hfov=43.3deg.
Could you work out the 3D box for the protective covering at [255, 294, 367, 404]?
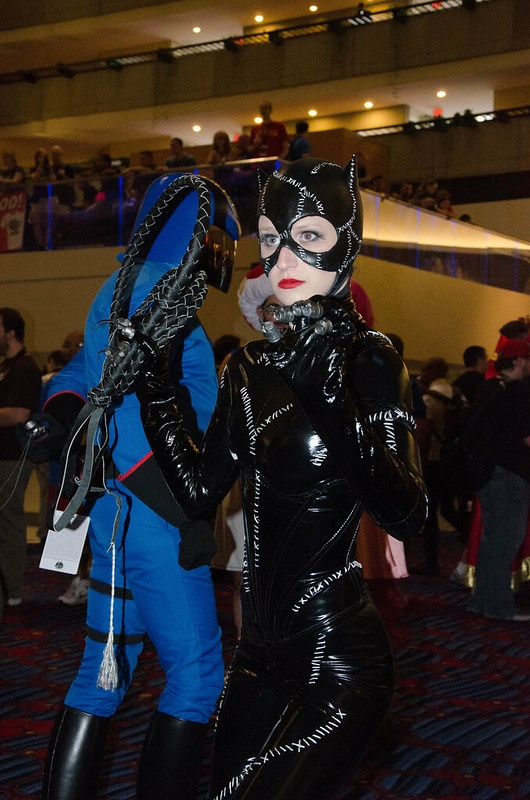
[{"bbox_3d":[0.050,-0.062,0.661,0.091,0.115,0.058,-10,7,5],"label":"protective covering"}]
